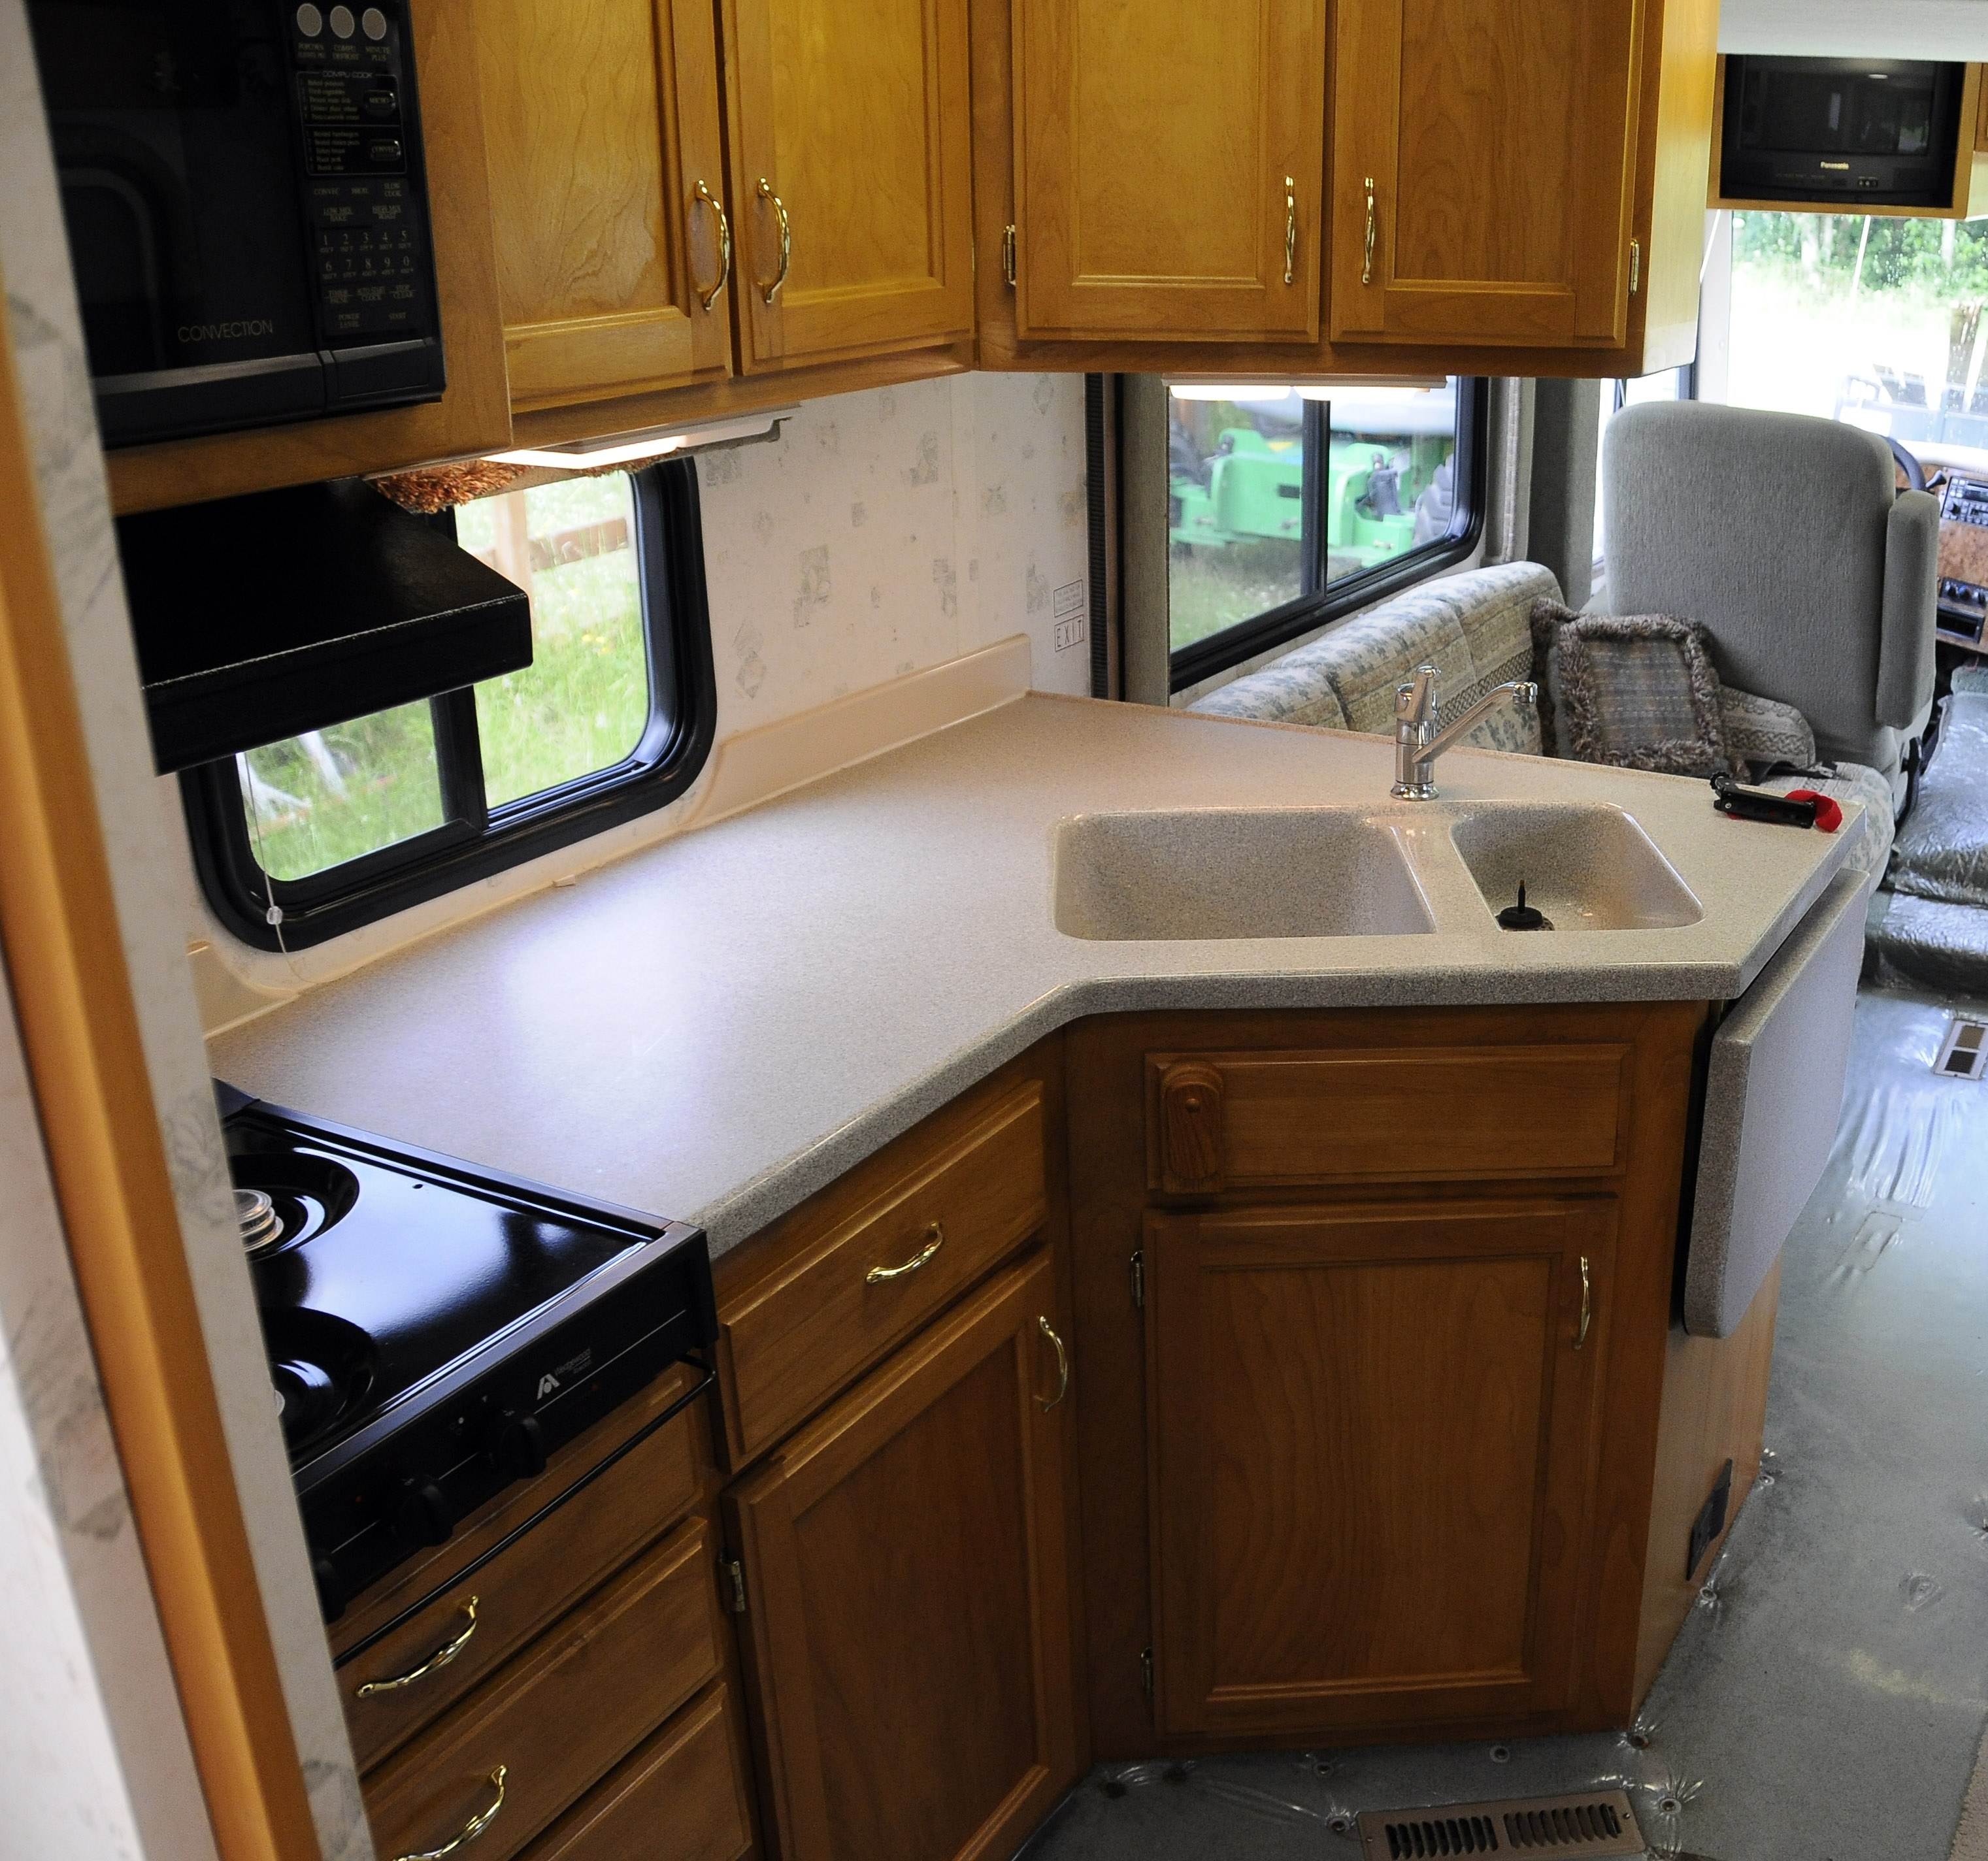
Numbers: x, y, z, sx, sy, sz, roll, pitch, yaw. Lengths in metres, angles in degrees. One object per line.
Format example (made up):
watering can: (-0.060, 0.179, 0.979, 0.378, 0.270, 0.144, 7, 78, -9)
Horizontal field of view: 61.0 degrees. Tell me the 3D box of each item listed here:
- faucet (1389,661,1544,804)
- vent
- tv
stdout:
faucet: (0.612, -0.238, 2.290, 0.203, 0.155, 0.076, 4, -5, -9)
vent: (-0.522, -0.249, 1.309, 0.305, 0.149, 0.229, -19, 27, -35)
tv: (1.276, -1.202, 2.566, 0.353, 0.235, 0.184, 9, 23, 26)
